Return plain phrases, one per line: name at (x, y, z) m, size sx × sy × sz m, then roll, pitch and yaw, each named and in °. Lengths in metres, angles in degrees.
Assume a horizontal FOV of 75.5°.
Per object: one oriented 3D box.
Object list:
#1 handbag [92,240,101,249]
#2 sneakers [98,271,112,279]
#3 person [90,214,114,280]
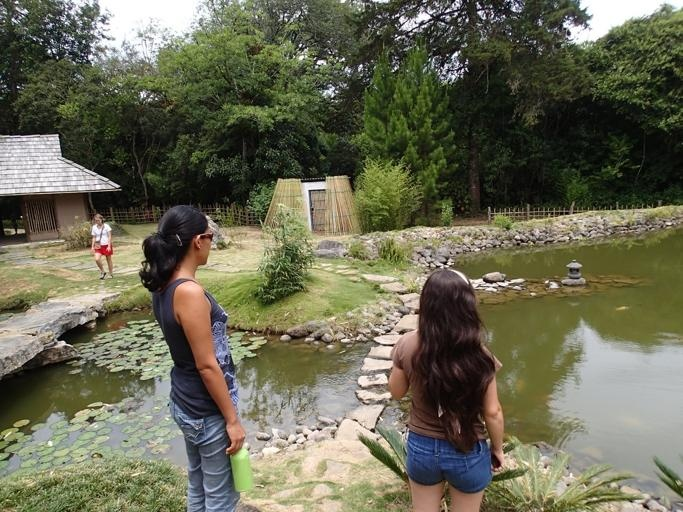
handbag at (-7.092, -0.325, 12.662) m, size 0.274 × 0.286 × 0.140 m, roll 1°, pitch 5°, yaw 34°
sneakers at (-6.815, 0.558, 12.699) m, size 0.166 × 0.245 × 0.519 m, roll -1°, pitch -4°, yaw 9°
person at (-6.988, -0.273, 12.802) m, size 0.457 × 1.840 × 0.955 m, roll -4°, pitch 5°, yaw -30°
